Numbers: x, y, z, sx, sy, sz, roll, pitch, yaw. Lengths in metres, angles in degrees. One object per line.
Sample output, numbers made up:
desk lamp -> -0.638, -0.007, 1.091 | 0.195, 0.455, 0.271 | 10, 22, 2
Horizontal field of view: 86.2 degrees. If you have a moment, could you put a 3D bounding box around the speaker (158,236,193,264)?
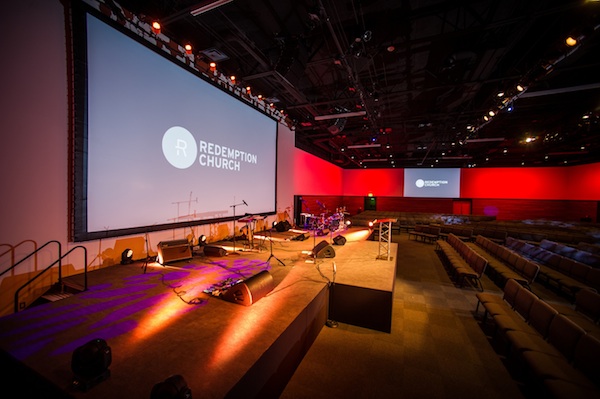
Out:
speaker -> -3.422, 1.398, 8.718 | 0.982, 0.743, 0.590 | 3, -23, -44

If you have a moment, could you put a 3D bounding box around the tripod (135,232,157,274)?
tripod -> -4.037, 1.350, 8.446 | 0.446, 0.845, 0.963 | 0, 1, -25

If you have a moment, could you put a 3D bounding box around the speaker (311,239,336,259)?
speaker -> 0.640, 1.432, 8.993 | 0.514, 0.427, 0.635 | 3, -1, -14

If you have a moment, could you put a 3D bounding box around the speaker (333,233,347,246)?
speaker -> 1.246, 1.343, 10.603 | 0.369, 0.327, 0.358 | -9, 10, -43

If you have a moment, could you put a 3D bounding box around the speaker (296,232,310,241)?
speaker -> 0.094, 1.335, 11.430 | 0.297, 0.231, 0.598 | 0, 1, 29

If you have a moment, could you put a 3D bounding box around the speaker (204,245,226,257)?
speaker -> -2.477, 1.488, 9.201 | 0.621, 0.282, 0.266 | 0, 1, 24

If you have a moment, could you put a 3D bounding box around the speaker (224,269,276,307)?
speaker -> -1.157, 1.887, 6.883 | 0.747, 0.346, 0.745 | -9, -3, 28
